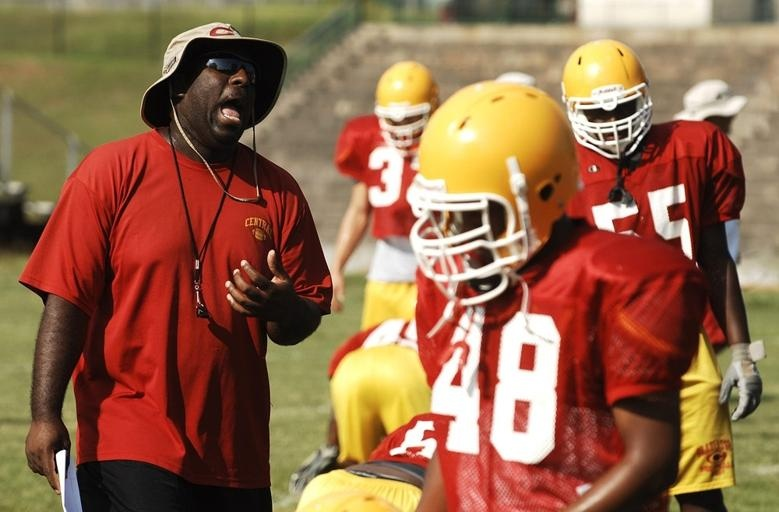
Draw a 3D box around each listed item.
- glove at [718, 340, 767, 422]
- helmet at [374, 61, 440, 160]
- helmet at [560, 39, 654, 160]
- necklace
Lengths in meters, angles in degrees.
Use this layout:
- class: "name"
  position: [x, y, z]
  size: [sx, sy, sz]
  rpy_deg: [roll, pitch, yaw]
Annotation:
- class: "glove"
  position: [1.637, 0.603, 5.757]
  size: [0.297, 0.432, 0.174]
  rpy_deg: [8, -13, -35]
- class: "helmet"
  position: [0.125, -0.971, 7.821]
  size: [0.381, 0.526, 0.516]
  rpy_deg: [-2, 35, 16]
- class: "helmet"
  position: [1.069, -0.812, 6.100]
  size: [0.421, 0.511, 0.578]
  rpy_deg: [-11, 22, 6]
- class: "necklace"
  position: [-0.817, -0.127, 5.353]
  size: [0.206, 0.732, 0.096]
  rpy_deg: [8, -18, -25]
